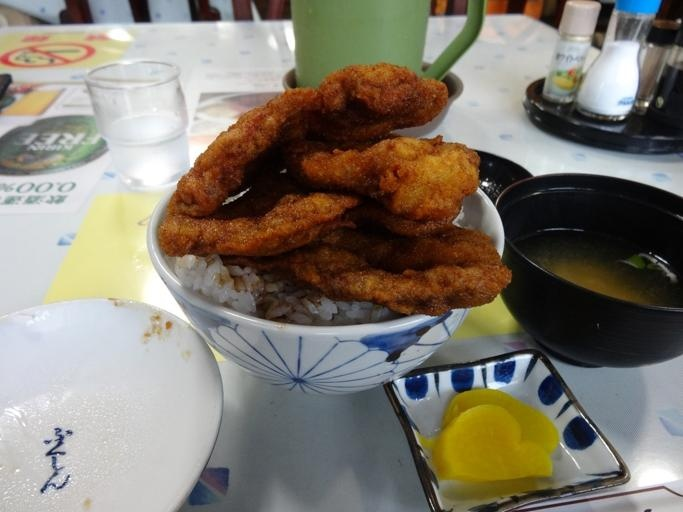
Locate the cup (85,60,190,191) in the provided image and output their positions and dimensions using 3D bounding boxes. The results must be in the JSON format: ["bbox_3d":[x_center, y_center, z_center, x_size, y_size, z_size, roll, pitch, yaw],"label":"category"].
[{"bbox_3d":[-0.557,-0.396,1.711,0.363,0.386,0.341,1,22,0],"label":"cup"}]

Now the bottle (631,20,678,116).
[{"bbox_3d":[1.049,-0.629,1.900,0.158,0.329,0.161,-2,15,0],"label":"bottle"}]
